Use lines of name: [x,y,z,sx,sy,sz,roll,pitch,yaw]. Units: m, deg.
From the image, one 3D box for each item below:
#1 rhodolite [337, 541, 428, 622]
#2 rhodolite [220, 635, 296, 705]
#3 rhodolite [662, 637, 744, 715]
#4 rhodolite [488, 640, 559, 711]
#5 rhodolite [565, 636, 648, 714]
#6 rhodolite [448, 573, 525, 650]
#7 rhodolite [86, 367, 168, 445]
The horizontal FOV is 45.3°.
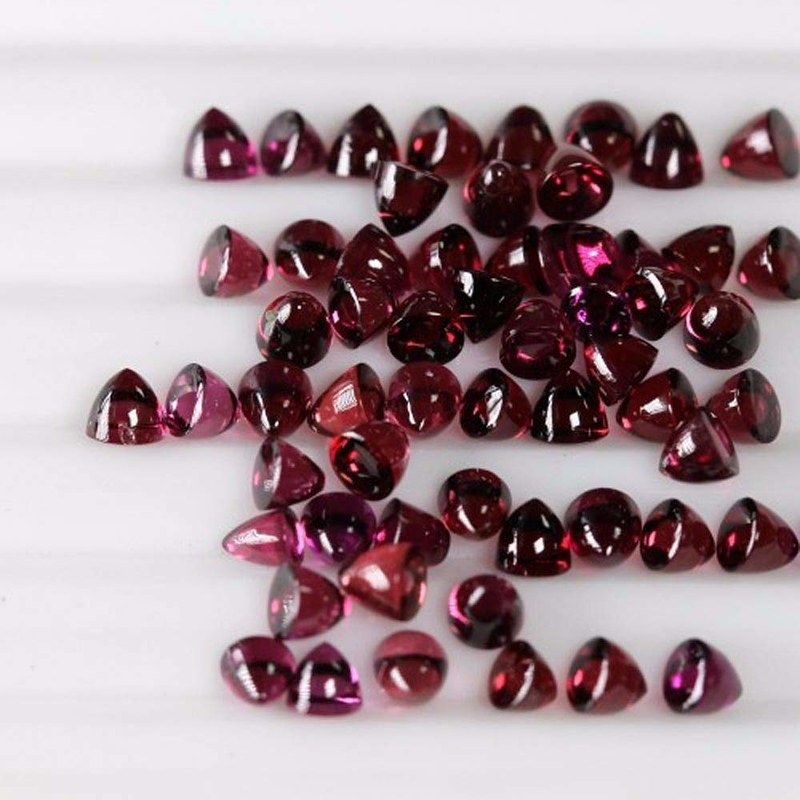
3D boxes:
rhodolite: [-0.015,0.171,0.907,0.071,0.074,0.040,19,-7,2]
rhodolite: [-0.136,0.259,0.916,0.058,0.066,0.035,0,-3,1]
rhodolite: [0.298,0.273,0.946,0.075,0.071,0.032,-1,-5,15]
rhodolite: [0.117,0.272,0.926,0.054,0.071,0.039,2,0,1]
rhodolite: [0.199,0.269,0.928,0.067,0.072,0.047,15,-4,-4]
rhodolite: [0.085,0.206,0.936,0.059,0.077,0.039,-5,-3,4]
rhodolite: [-0.276,0.012,0.978,0.069,0.078,0.070,1,12,-4]
